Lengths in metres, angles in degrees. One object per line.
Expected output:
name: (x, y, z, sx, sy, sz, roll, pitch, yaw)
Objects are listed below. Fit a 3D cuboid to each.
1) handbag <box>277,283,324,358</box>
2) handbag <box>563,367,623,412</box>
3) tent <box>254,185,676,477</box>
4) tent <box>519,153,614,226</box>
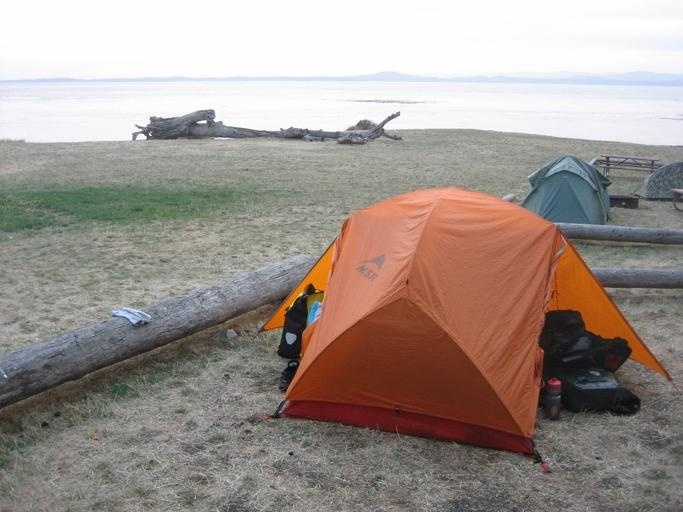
handbag: (-0.470, 0.776, 6.287, 0.585, 0.675, 0.810, 21, 57, 1)
handbag: (2.629, 1.397, 5.696, 0.793, 0.318, 0.442, -1, 11, -2)
tent: (1.022, 0.579, 5.598, 2.357, 2.198, 1.919, 5, 21, 18)
tent: (5.161, -1.738, 12.234, 2.272, 0.977, 2.541, 11, 22, 20)
